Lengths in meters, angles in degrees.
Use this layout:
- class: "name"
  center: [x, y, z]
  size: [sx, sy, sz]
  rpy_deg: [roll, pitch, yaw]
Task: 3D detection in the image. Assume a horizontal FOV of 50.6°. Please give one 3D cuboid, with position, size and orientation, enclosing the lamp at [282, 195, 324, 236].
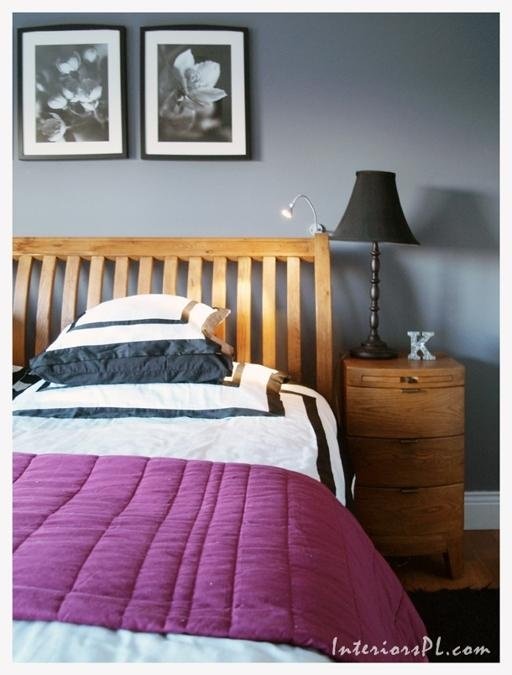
- class: "lamp"
  center: [0.182, -0.470, 2.041]
  size: [0.181, 0.156, 0.146]
  rpy_deg: [3, 8, 3]

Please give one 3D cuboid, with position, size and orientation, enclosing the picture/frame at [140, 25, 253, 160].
- class: "picture/frame"
  center: [-0.219, -0.948, 2.046]
  size: [0.510, 0.543, 0.029]
  rpy_deg: [0, 7, 0]

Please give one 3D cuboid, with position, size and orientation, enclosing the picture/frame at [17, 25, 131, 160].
- class: "picture/frame"
  center: [-0.679, -0.953, 2.065]
  size: [0.512, 0.569, 0.026]
  rpy_deg: [1, 4, 0]

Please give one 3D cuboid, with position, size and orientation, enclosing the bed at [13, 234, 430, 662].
- class: "bed"
  center: [-0.107, 0.098, 0.972]
  size: [0.511, 0.327, 0.688]
  rpy_deg: [0, 9, -4]
